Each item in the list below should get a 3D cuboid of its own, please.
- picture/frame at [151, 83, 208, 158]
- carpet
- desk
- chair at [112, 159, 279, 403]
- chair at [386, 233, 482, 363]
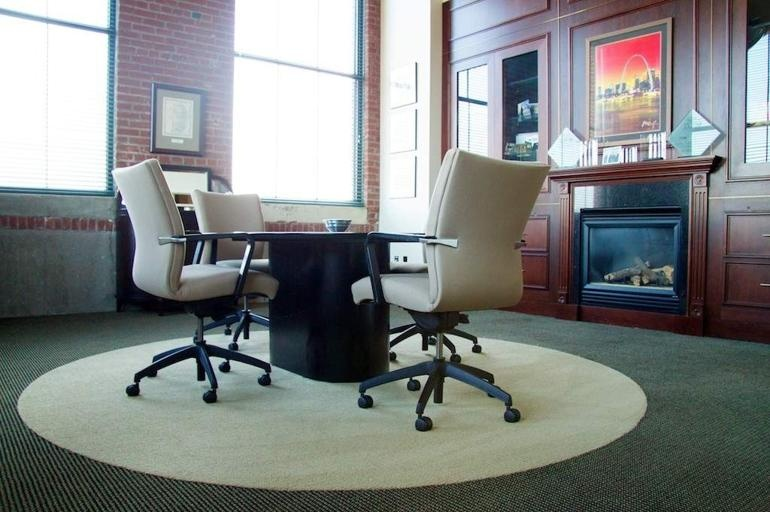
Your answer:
[{"bbox_3d":[-2.415,-1.609,6.455,0.626,0.780,0.246,-4,15,-21],"label":"picture/frame"},{"bbox_3d":[-0.325,0.956,3.466,3.898,0.063,1.552,0,12,-2],"label":"carpet"},{"bbox_3d":[-0.432,0.355,4.352,0.903,1.021,1.067,-1,4,-40],"label":"desk"},{"bbox_3d":[-1.345,0.166,3.892,1.004,1.418,0.976,3,-2,-34],"label":"chair"},{"bbox_3d":[0.541,0.402,4.566,0.831,1.095,0.766,0,0,-26],"label":"chair"}]
